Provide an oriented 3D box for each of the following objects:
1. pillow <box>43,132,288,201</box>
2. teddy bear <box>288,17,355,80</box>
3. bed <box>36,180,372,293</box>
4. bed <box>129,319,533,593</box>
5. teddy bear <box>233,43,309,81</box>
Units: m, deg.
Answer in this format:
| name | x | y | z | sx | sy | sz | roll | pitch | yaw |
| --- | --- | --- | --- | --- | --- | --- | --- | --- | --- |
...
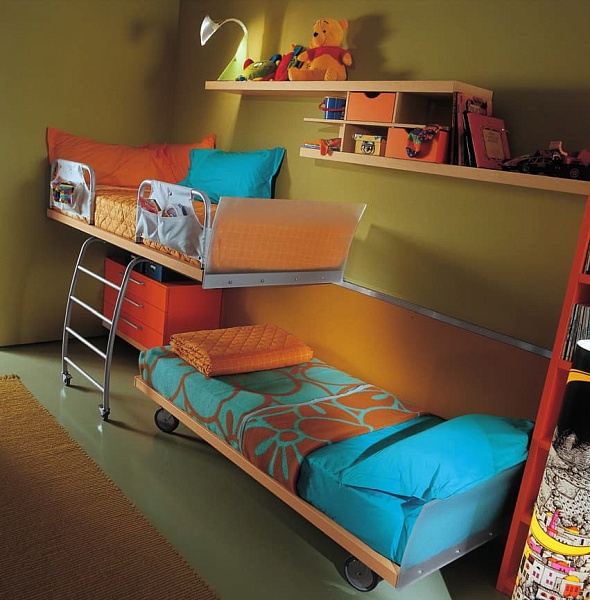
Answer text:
| name | x | y | z | sx | sy | sz | roll | pitch | yaw |
| --- | --- | --- | --- | --- | --- | --- | --- | --- | --- |
| pillow | -0.838 | -0.856 | 2.964 | 0.665 | 0.314 | 0.703 | -10 | 20 | -34 |
| teddy bear | 0.139 | -1.307 | 2.409 | 0.314 | 0.306 | 0.250 | 8 | 25 | 20 |
| bed | -0.527 | -0.446 | 2.618 | 0.869 | 0.368 | 1.566 | -6 | 19 | -40 |
| bed | 0.034 | 0.448 | 1.860 | 0.755 | 0.467 | 1.385 | -8 | 22 | -37 |
| teddy bear | -0.148 | -1.349 | 2.662 | 0.304 | 0.277 | 0.110 | 2 | -25 | 23 |
